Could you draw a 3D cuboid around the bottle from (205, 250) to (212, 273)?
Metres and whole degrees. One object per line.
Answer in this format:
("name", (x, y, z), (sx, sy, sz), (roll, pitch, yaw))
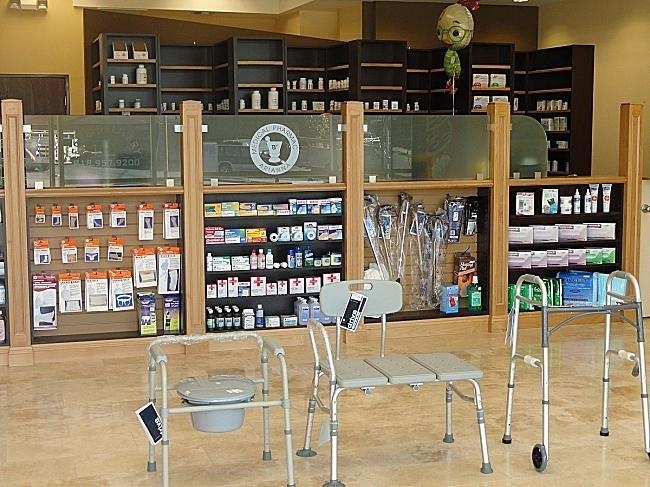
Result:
("bottle", (-1.152, 0.190, 5.938), (0.073, 0.178, 0.040), (-4, 6, -18))

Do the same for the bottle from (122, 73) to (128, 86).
("bottle", (-3.351, -2.764, 9.969), (0.108, 0.215, 0.162), (-4, 6, -17))

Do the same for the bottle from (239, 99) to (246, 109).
("bottle", (-1.421, -2.400, 10.258), (0.093, 0.205, 0.195), (-2, 6, 5))

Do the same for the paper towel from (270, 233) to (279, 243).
("paper towel", (-0.516, -0.059, 6.075), (0.112, 0.094, 0.027), (1, 3, -8))

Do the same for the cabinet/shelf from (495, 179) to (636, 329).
("cabinet/shelf", (2.536, 0.091, 6.338), (2.006, 1.545, 0.551), (0, 0, -11))

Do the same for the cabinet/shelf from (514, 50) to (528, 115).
("cabinet/shelf", (4.075, -3.337, 12.301), (0.267, 1.228, 0.273), (0, 6, 18))

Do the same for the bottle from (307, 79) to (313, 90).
("bottle", (-0.278, -3.081, 11.520), (0.119, 0.212, 0.146), (-2, 6, -1))

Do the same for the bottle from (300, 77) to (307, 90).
("bottle", (-0.405, -3.073, 11.448), (0.179, 0.227, 0.096), (-4, 6, -23))

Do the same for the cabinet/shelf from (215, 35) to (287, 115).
("cabinet/shelf", (-1.352, -2.869, 10.291), (1.420, 1.287, 0.802), (-1, 6, 11))

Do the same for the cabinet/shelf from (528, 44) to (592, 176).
("cabinet/shelf", (4.740, -2.637, 11.844), (1.179, 2.520, 0.694), (0, 6, 26))

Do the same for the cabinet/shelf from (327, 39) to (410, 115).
("cabinet/shelf", (0.747, -3.114, 11.107), (1.571, 1.346, 0.801), (-1, 6, 9))

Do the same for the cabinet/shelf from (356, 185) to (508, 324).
("cabinet/shelf", (1.121, 0.081, 6.265), (1.775, 1.385, 0.484), (-1, 2, -13))

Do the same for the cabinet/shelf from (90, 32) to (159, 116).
("cabinet/shelf", (-3.289, -2.834, 10.010), (1.011, 1.302, 0.437), (-3, 6, -11))

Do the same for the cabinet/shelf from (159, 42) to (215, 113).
("cabinet/shelf", (-2.493, -2.952, 10.745), (0.957, 1.168, 0.471), (-3, 6, -13))

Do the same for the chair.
("chair", (0.263, 0.678, 3.718), (1.472, 1.226, 1.139), (-1, 2, -19))
